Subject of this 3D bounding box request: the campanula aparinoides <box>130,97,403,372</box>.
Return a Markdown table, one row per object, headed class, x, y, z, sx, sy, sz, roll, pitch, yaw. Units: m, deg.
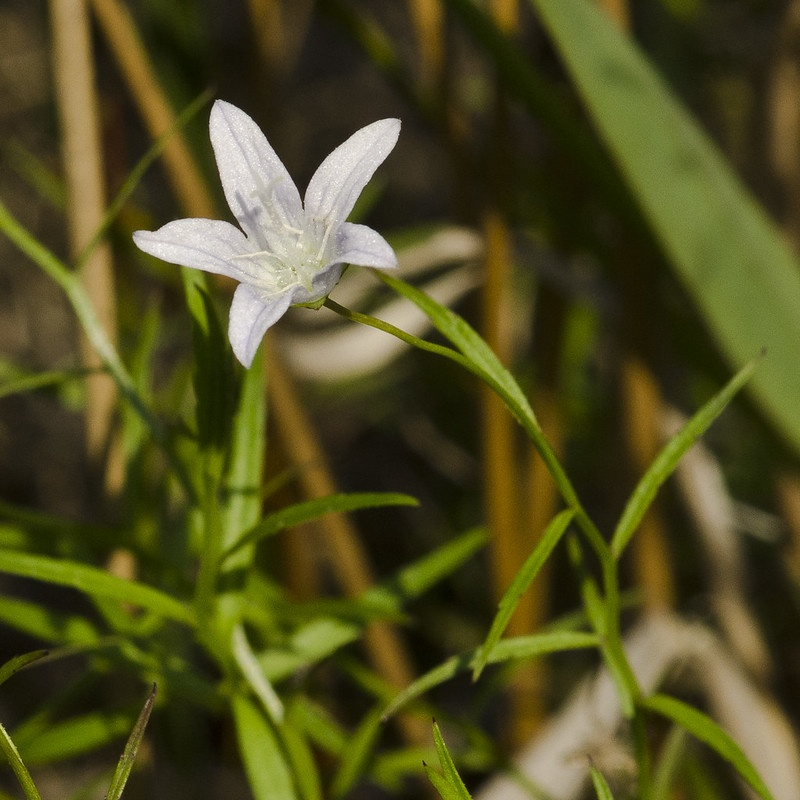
| class | x | y | z | sx | sy | sz | roll | pitch | yaw |
| --- | --- | --- | --- | --- | --- | --- | --- | --- | --- |
| campanula aparinoides | -0.102 | -0.139 | 0.964 | 0.192 | 0.123 | 0.180 | -13 | -16 | 0 |
